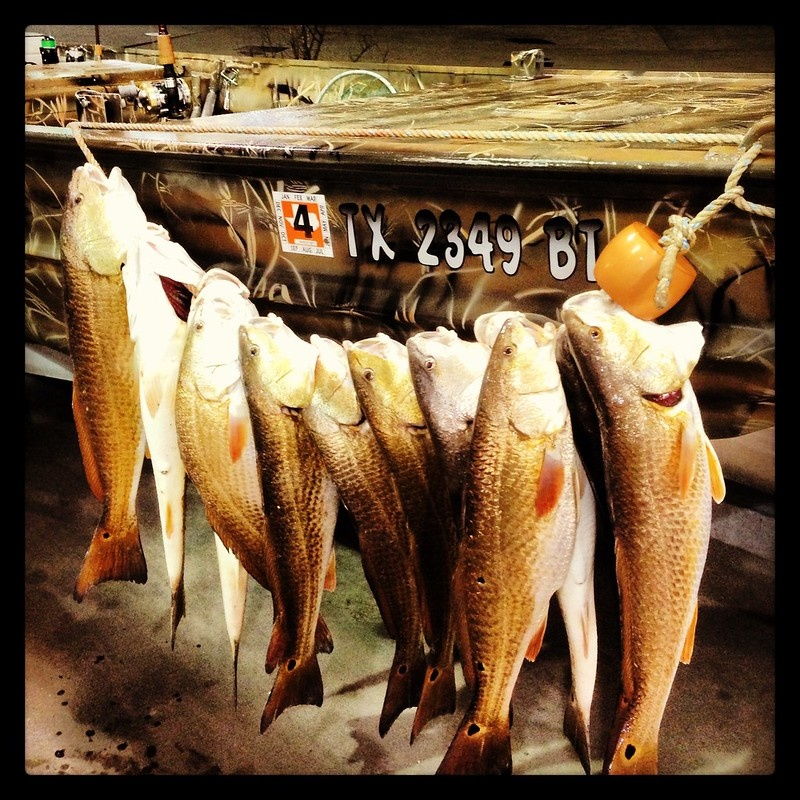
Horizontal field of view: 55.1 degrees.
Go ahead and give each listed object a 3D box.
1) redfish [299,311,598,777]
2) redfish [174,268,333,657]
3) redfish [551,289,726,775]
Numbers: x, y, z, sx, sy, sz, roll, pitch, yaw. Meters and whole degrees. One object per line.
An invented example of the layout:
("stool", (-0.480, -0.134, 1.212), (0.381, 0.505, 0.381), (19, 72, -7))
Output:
("redfish", (0.219, 0.219, 1.810), (0.528, 1.438, 0.317), (-5, 7, 3))
("redfish", (-0.360, 0.109, 1.913), (0.351, 1.105, 0.251), (-9, 8, -4))
("redfish", (0.458, 0.288, 1.526), (0.293, 0.991, 0.095), (2, 15, 10))
